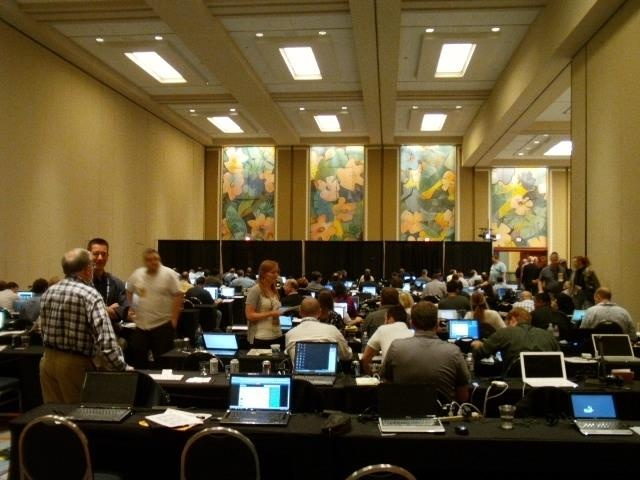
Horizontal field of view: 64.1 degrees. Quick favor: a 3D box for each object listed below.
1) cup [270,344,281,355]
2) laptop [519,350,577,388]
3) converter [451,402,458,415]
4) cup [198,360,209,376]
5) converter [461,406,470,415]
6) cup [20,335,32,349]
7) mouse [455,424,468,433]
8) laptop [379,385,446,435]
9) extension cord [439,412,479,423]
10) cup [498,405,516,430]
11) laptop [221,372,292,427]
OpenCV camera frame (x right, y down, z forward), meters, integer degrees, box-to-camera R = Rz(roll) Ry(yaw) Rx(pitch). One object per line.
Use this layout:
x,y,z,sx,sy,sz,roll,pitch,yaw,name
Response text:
-0.550,1.370,6.398,0.128,0.113,0.125,-1,-4,0,cup
2.373,1.378,5.283,0.474,0.282,0.396,-1,-3,-2,laptop
1.186,1.501,4.520,0.081,0.107,0.109,0,-6,7,converter
-1.293,1.461,5.767,0.103,0.129,0.131,3,4,42,cup
1.256,1.478,4.409,0.027,0.066,0.069,5,-9,-24,converter
-3.856,1.349,6.689,0.155,0.209,0.142,0,-8,0,cup
1.123,1.515,4.081,0.046,0.028,0.083,2,4,1,mouse
0.734,1.326,4.221,0.433,0.275,0.339,0,-3,1,laptop
1.189,1.510,4.306,0.352,0.055,0.036,1,-17,-15,extension cord
1.550,1.491,4.276,0.168,0.201,0.155,1,-9,0,cup
-0.552,1.354,4.341,0.497,0.283,0.352,0,-3,6,laptop
